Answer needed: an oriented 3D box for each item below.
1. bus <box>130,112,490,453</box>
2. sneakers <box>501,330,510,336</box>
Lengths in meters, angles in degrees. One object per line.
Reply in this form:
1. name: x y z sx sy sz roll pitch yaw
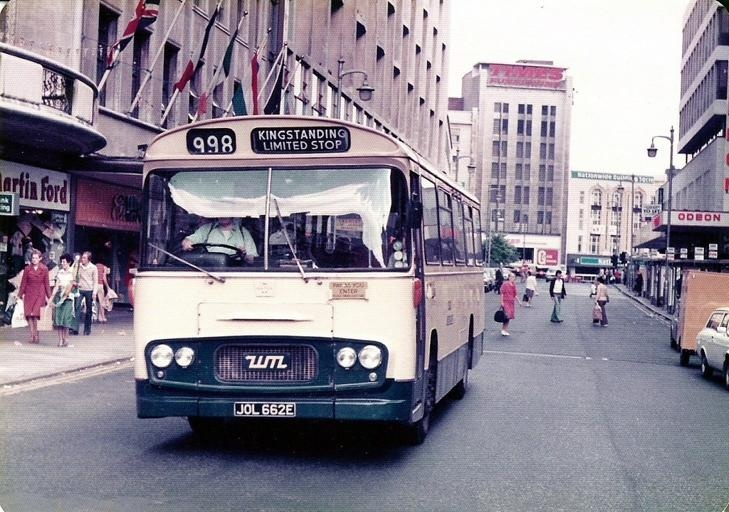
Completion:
1. bus: 0.085 0.489 12.529 3.454 4.014 10.473 -1 -2 13
2. sneakers: 5.100 2.759 24.951 0.186 0.141 0.333 -1 -10 3
